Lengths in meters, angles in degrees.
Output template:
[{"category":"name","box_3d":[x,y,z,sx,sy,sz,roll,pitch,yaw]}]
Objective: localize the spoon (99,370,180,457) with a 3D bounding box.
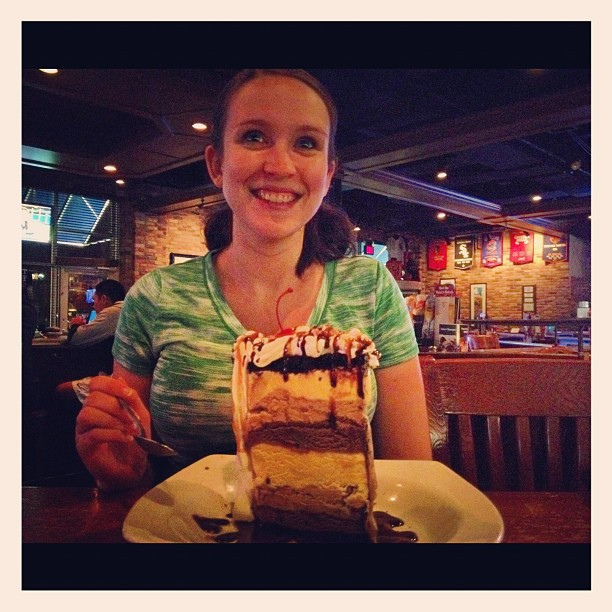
[{"category":"spoon","box_3d":[-0.545,0.363,1.815,0.056,0.318,0.056,-39,4,-14]}]

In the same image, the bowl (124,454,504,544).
[{"category":"bowl","box_3d":[0.027,0.584,1.660,0.637,0.096,0.477,-2,-4,5]}]

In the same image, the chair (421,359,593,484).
[{"category":"chair","box_3d":[0.700,0.400,1.954,0.740,0.405,0.207,-2,5,-2]}]

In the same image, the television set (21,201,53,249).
[{"category":"television set","box_3d":[-0.991,-0.293,2.005,0.013,0.146,0.168,8,5,22]}]

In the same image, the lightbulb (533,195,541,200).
[{"category":"lightbulb","box_3d":[0.879,-0.413,2.127,0.022,0.012,0.006,-8,-1,-1]}]

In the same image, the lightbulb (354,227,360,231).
[{"category":"lightbulb","box_3d":[0.171,-0.262,1.902,0.005,0.013,0.027,2,0,35]}]
